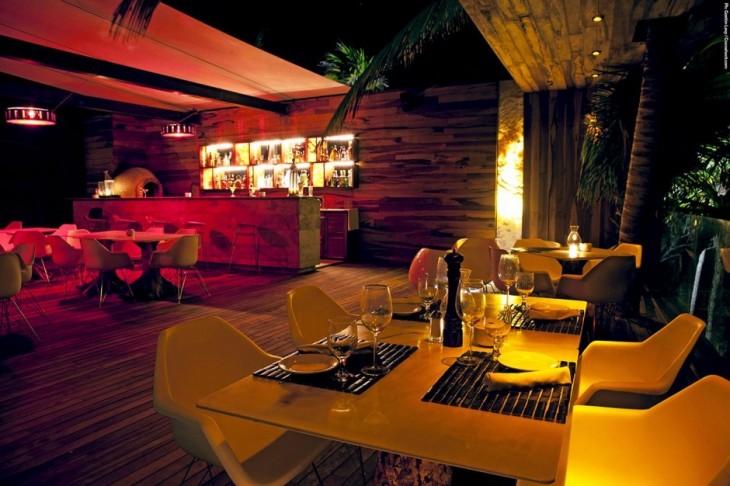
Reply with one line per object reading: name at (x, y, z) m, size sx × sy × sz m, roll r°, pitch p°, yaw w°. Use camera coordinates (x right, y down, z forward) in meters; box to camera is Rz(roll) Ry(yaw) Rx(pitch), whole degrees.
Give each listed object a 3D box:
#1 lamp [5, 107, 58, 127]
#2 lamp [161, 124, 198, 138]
lamp at (-6.584, -2.528, 8.904) m, size 0.732 × 0.289 × 0.408 m, roll -1°, pitch 11°, yaw -12°
lamp at (-4.201, -2.573, 10.274) m, size 0.634 × 0.202 × 0.638 m, roll 0°, pitch 5°, yaw 9°
